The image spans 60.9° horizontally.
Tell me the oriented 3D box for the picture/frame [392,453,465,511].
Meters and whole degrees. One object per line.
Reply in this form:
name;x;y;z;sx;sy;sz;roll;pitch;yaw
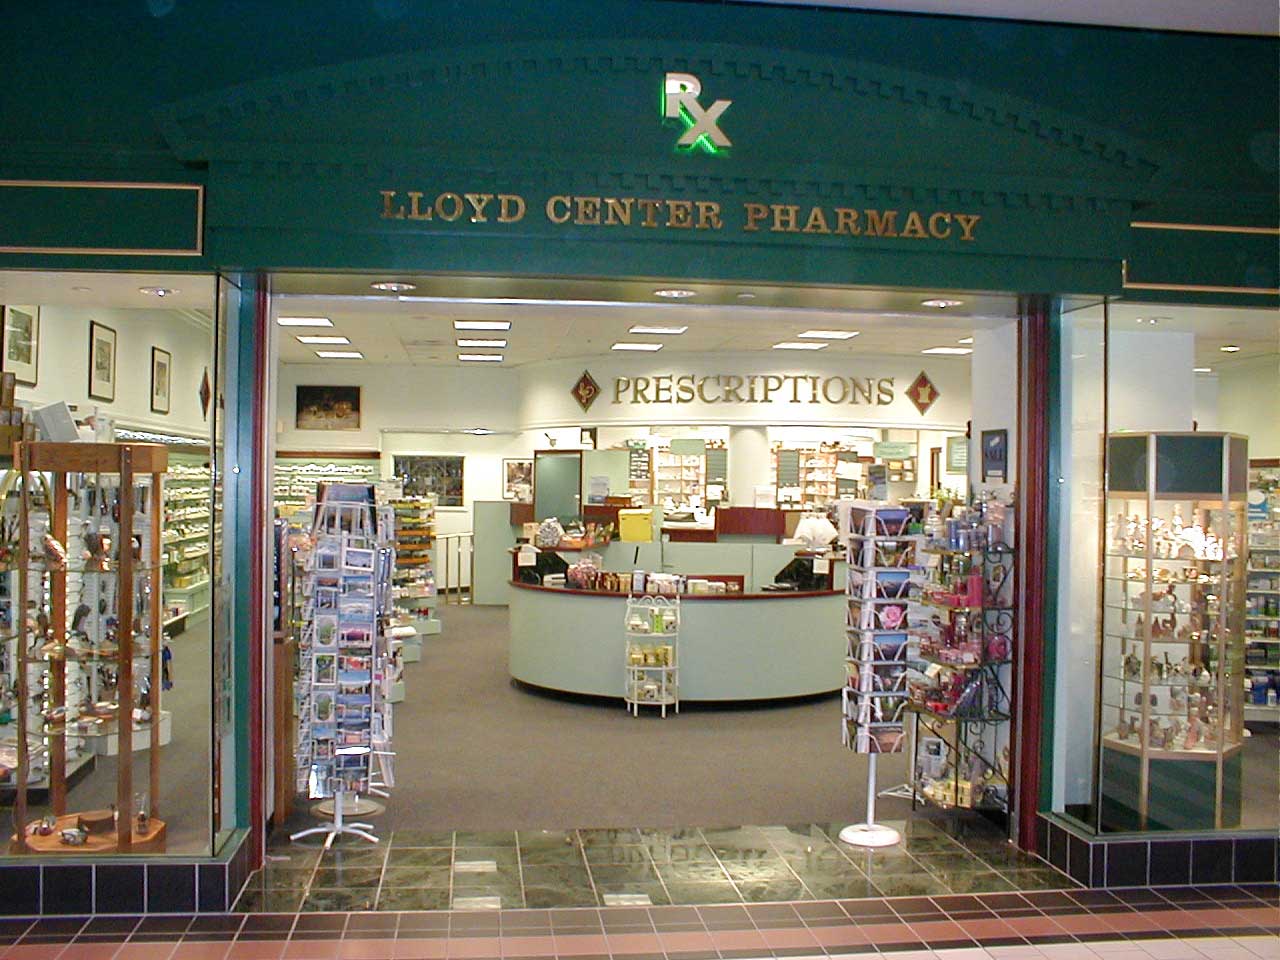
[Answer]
picture/frame;-3.704;-0.009;18.623;1.129;0.783;0.041;0;-1;-7
